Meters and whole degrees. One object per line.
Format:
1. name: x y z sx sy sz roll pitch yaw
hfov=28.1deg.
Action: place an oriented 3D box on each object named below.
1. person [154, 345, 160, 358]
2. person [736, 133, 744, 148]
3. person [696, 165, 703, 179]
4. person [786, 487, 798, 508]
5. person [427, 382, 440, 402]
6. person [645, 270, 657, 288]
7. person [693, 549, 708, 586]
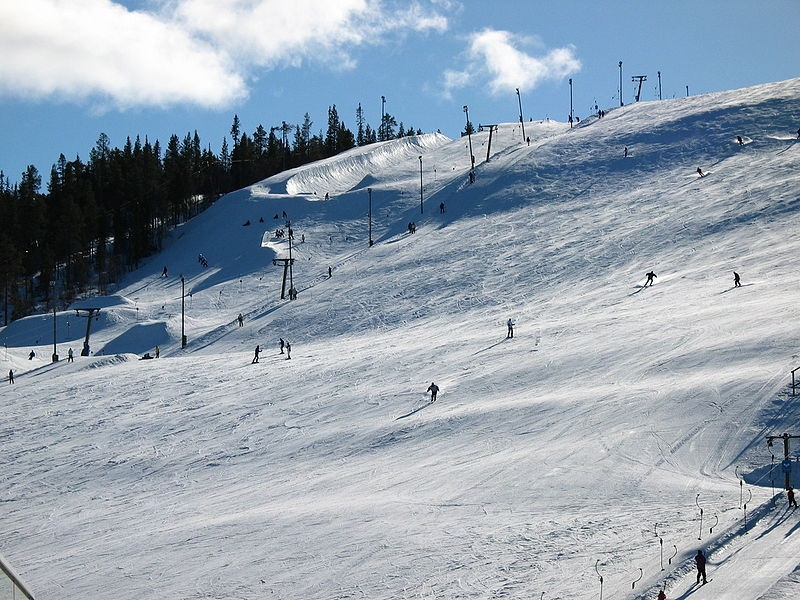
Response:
1. person: -18.895 3.976 124.434 0.295 0.332 0.829 -1 17 4
2. person: 28.857 -13.571 136.072 0.523 1.046 1.904 -7 -1 13
3. person: 24.721 -10.639 132.336 0.646 0.954 0.439 -2 20 -23
4. person: 23.403 11.832 95.852 0.539 1.218 0.630 -7 0 12
5. person: 2.172 6.091 106.447 0.859 1.337 1.440 -7 0 -1
6. person: 18.244 -1.652 117.200 0.814 0.294 1.335 19 28 13
7. person: 17.411 15.498 93.263 0.665 2.002 0.952 -7 0 13
